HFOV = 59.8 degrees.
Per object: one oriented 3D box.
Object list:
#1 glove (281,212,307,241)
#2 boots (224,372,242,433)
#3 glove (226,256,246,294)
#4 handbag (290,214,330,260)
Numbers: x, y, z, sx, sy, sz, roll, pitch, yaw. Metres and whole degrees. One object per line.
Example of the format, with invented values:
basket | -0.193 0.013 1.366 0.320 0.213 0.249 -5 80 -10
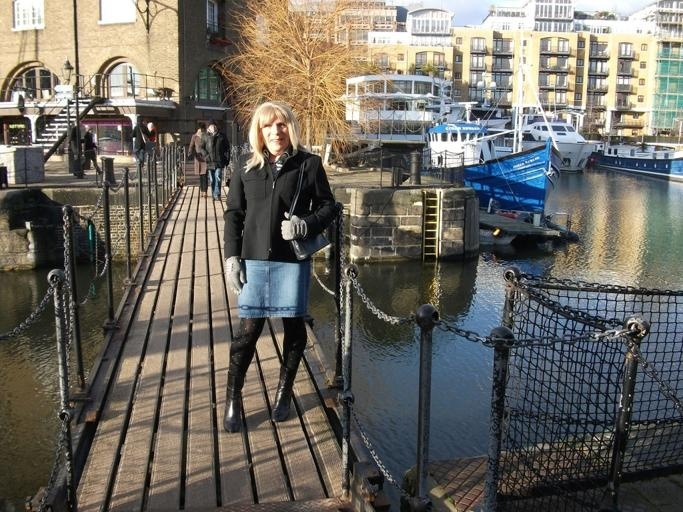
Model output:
glove | -0.385 -0.210 4.768 0.210 0.218 0.115 11 11 17
boots | -0.934 1.234 5.123 0.161 0.378 0.503 4 18 -8
glove | -0.881 0.159 4.882 0.138 0.332 0.194 0 12 -30
handbag | -0.284 -0.145 4.819 0.326 0.133 0.317 -42 25 -30
